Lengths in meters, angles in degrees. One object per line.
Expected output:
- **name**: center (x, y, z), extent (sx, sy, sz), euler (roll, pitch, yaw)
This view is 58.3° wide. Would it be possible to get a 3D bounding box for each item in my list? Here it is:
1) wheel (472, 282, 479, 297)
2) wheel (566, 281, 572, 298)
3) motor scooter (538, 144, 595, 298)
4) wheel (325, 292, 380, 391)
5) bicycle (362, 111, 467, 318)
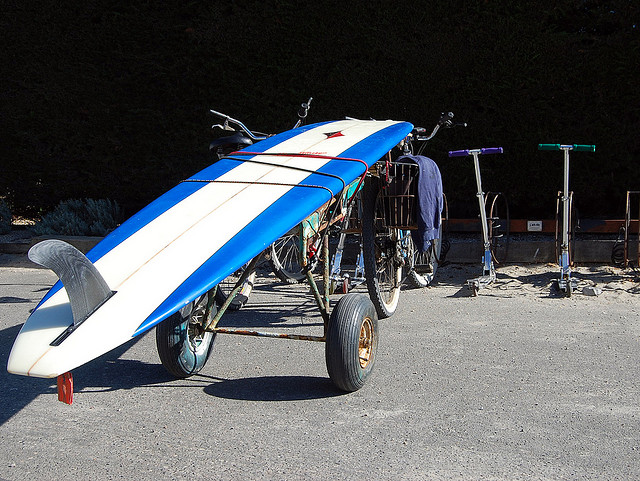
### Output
- **wheel**: center (1.611, 0.504, 5.972), extent (0.065, 0.134, 0.125), euler (2, 14, 16)
- **wheel**: center (2.517, 0.493, 5.844), extent (0.059, 0.140, 0.095), euler (3, 14, 20)
- **motor scooter**: center (2.687, -0.345, 6.430), extent (0.515, 1.522, 1.689), euler (4, 14, 22)
- **wheel**: center (0.237, 0.712, 3.990), extent (0.234, 0.694, 0.636), euler (2, -7, 22)
- **bicycle**: center (0.826, -0.065, 6.022), extent (1.101, 1.535, 2.173), euler (2, 20, 27)
